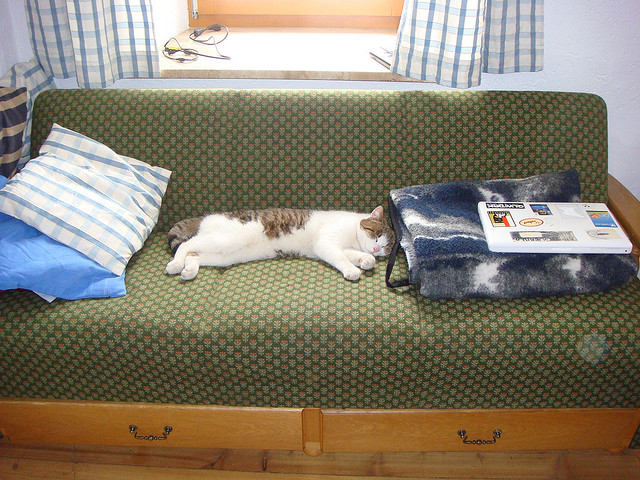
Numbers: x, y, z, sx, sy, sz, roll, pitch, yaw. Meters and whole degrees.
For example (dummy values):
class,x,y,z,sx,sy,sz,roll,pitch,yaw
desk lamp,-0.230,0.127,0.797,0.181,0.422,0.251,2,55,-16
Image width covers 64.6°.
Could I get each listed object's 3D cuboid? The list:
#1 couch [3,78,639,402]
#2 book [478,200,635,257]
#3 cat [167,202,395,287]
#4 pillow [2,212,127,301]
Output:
class,x,y,z,sx,sy,sz,roll,pitch,yaw
couch,0.118,-0.038,2.166,2.557,1.010,1.178,0,32,2
book,0.920,-0.052,2.011,0.473,0.042,0.253,1,32,5
cat,-0.157,0.022,2.201,0.951,0.205,0.340,1,43,4
pillow,-1.020,0.073,1.986,0.602,0.142,0.602,-8,24,-27
